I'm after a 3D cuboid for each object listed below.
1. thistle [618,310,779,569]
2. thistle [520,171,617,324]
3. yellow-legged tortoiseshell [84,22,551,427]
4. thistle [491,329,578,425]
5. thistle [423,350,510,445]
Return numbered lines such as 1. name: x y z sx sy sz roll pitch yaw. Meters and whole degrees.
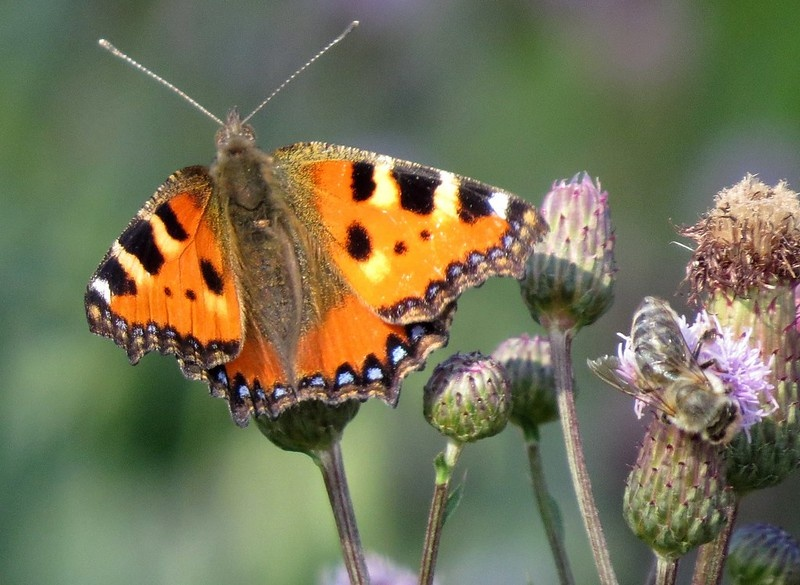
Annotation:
1. thistle: 1.176 0.715 4.557 0.523 1.193 0.803 3 10 4
2. thistle: 0.823 -0.180 4.970 0.462 0.785 0.466 -7 -31 43
3. yellow-legged tortoiseshell: -0.491 -0.092 4.687 1.831 1.966 0.548 -14 -9 -2
4. thistle: 0.629 0.412 5.037 0.333 0.474 0.368 -7 1 -1
5. thistle: 0.299 0.460 4.607 0.386 0.382 0.175 -6 -28 2
